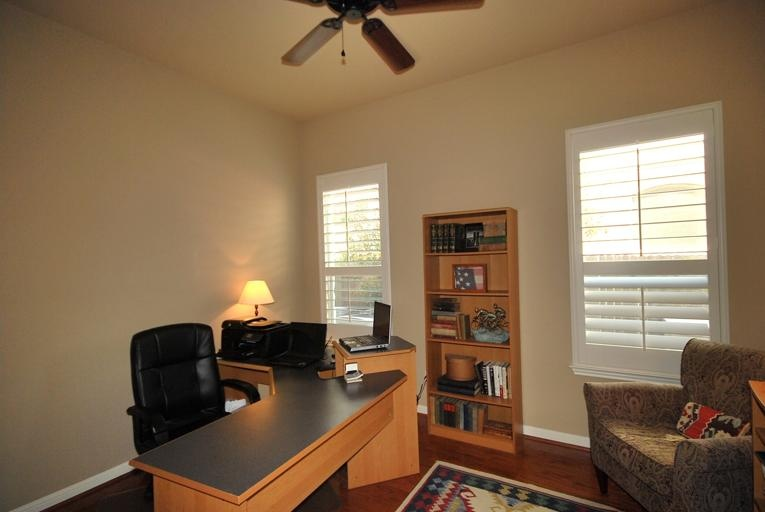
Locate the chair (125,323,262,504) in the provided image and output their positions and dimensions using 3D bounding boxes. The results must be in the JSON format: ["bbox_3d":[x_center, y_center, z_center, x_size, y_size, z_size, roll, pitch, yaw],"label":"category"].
[{"bbox_3d":[-1.539,1.291,4.403,0.835,1.303,0.923,11,12,38],"label":"chair"}]

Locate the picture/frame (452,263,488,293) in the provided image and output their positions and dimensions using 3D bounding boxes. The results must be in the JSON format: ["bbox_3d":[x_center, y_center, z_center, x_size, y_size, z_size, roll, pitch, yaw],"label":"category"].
[{"bbox_3d":[0.857,0.212,5.247,0.273,0.240,0.038,-3,-6,31],"label":"picture/frame"}]

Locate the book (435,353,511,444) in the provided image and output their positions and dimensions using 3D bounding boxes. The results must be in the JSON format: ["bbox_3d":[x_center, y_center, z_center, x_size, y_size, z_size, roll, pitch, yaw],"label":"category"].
[{"bbox_3d":[0.871,1.391,5.154,0.852,0.844,0.314,0,-1,27],"label":"book"}]

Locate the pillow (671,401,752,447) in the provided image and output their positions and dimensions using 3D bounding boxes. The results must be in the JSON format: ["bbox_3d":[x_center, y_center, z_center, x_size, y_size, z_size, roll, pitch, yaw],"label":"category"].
[{"bbox_3d":[2.503,1.290,4.116,0.269,0.105,0.344,-35,13,-18],"label":"pillow"}]

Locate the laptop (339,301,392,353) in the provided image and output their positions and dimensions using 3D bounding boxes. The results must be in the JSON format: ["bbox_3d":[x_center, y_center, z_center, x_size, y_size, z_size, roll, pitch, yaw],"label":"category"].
[{"bbox_3d":[-0.176,0.615,4.933,0.417,0.415,0.538,1,-1,-8],"label":"laptop"}]

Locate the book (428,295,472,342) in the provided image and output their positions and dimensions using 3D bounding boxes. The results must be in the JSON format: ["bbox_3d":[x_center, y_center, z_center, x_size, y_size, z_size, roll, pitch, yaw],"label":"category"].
[{"bbox_3d":[0.630,0.597,5.301,0.454,0.367,0.485,3,5,7],"label":"book"}]
